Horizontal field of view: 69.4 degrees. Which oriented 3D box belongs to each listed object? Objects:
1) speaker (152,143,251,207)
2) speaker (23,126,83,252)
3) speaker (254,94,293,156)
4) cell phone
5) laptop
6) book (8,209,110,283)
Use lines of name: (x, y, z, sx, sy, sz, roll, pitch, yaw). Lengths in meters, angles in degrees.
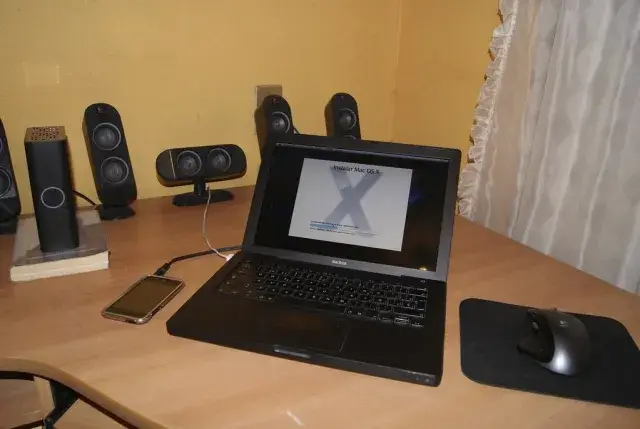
speaker: (-0.404, -0.150, 1.621, 0.333, 0.206, 0.124, -4, 2, -1)
speaker: (-0.714, -0.053, 1.345, 0.105, 0.282, 0.295, -7, 4, -7)
speaker: (-0.170, -0.326, 1.683, 0.198, 0.187, 0.190, -10, 1, -3)
cell phone: (-0.415, 0.204, 1.091, 0.126, 0.021, 0.176, 11, 28, 20)
laptop: (0.032, 0.095, 1.117, 0.601, 0.264, 0.599, 10, 29, 13)
book: (-0.722, 0.070, 1.286, 0.227, 0.045, 0.225, -10, 40, -24)
